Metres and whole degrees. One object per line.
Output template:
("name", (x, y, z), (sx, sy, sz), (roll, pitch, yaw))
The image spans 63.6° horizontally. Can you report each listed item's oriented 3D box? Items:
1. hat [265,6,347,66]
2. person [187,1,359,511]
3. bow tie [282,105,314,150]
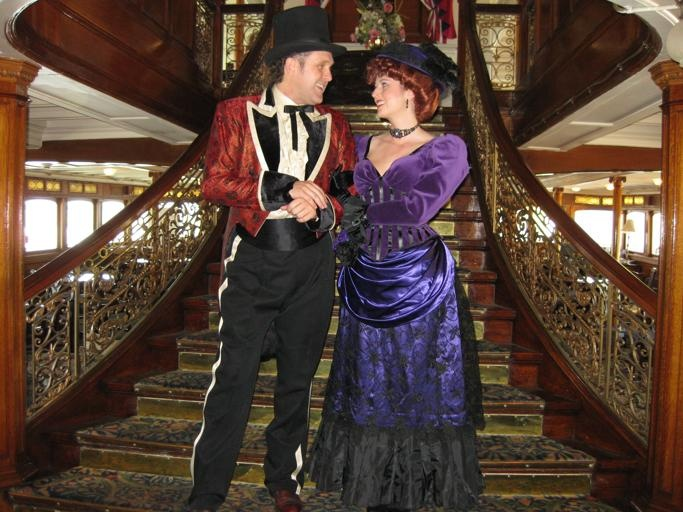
("hat", (-0.209, -1.127, 2.817), (0.334, 0.183, 0.273), (2, 9, 1))
("person", (-0.343, 0.056, 2.925), (0.803, 2.728, 0.556), (3, -4, -7))
("bow tie", (-0.214, -0.663, 2.868), (0.167, 0.295, 0.037), (-4, -26, -11))
